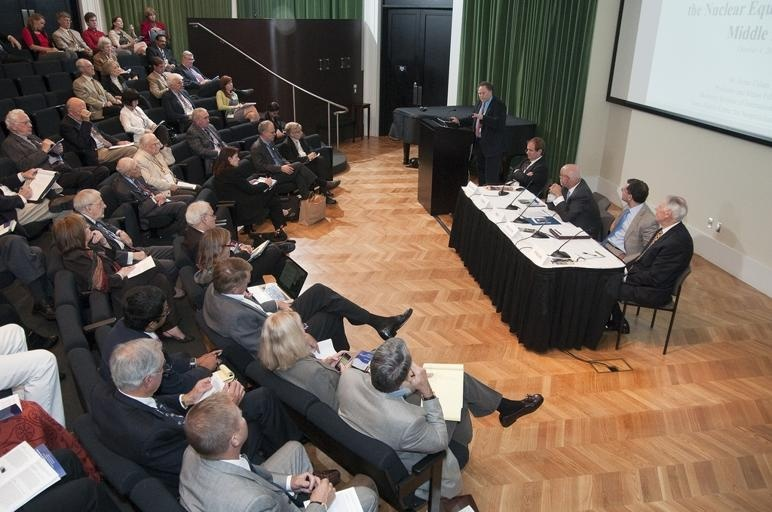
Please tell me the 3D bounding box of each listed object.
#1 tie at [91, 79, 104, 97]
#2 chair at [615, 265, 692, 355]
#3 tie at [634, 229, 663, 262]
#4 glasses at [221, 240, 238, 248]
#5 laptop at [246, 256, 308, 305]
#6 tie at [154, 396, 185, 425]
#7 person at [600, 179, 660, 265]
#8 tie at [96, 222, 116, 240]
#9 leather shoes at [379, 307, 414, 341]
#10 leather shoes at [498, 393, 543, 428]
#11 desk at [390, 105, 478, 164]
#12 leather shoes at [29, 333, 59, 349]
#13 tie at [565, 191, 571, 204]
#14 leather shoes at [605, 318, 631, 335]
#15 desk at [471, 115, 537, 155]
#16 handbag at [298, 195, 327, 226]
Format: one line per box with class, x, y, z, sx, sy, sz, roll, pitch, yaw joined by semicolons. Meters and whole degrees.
tie;-4.421;-2.552;7.604;0.070;0.256;0.186;-23;21;4
chair;2.800;0.586;5.227;0.622;0.899;0.469;9;32;19
tie;2.791;-0.116;5.238;0.060;0.044;0.416;35;73;3
glasses;-1.562;-0.120;4.976;0.122;0.036;0.123;-2;16;-10
laptop;-1.100;0.333;5.076;0.449;0.345;0.555;-9;39;-40
tie;-1.493;1.060;3.440;0.213;0.082;0.210;24;13;-37
person;2.912;-0.390;5.869;0.485;1.267;0.587;-3;60;15
tie;-2.798;-0.257;4.961;0.221;0.054;0.132;39;11;33
leather shoes;0.113;0.671;5.038;0.174;0.173;0.478;52;51;-5
leather shoes;1.159;1.335;4.239;0.478;0.178;0.158;-24;31;-21
desk;0.792;-2.307;10.247;1.316;0.815;1.604;11;15;-21
leather shoes;-2.932;0.732;4.288;0.241;0.105;0.083;2;31;-21
tie;2.197;-0.707;5.978;0.022;0.057;0.190;11;52;10
leather shoes;2.485;0.765;5.341;0.332;0.151;0.116;8;49;9
desk;1.913;-1.971;8.175;0.552;0.644;0.980;0;28;1
handbag;-1.139;-0.691;7.625;0.184;0.351;0.362;19;29;32
